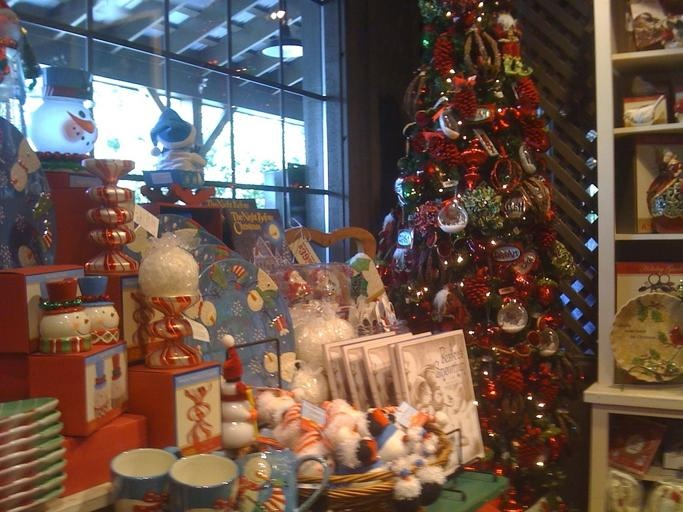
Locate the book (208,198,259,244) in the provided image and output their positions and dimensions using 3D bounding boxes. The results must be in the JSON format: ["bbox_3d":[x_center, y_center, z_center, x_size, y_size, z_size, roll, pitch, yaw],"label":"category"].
[{"bbox_3d":[-0.357,-0.125,1.995,0.038,0.152,0.163,-12,-7,38],"label":"book"}]

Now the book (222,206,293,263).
[{"bbox_3d":[-0.287,-0.078,2.018,0.215,0.190,0.049,3,-26,-38],"label":"book"}]

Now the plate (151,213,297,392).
[{"bbox_3d":[-0.313,0.117,1.664,0.063,0.444,0.455,-16,-37,23],"label":"plate"}]

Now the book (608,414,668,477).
[{"bbox_3d":[1.135,0.722,2.330,0.256,0.257,0.054,6,11,-13],"label":"book"}]
